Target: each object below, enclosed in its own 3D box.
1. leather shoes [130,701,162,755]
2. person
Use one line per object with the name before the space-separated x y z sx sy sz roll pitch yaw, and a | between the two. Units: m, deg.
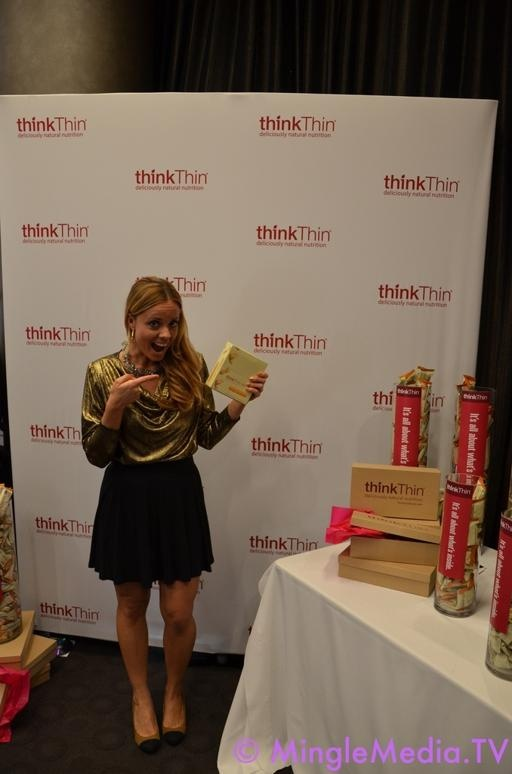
leather shoes | -0.383 1.185 2.041 0.085 0.029 0.274 6 3 -16
person | -0.308 0.420 1.927 0.507 1.561 0.363 0 3 -30
